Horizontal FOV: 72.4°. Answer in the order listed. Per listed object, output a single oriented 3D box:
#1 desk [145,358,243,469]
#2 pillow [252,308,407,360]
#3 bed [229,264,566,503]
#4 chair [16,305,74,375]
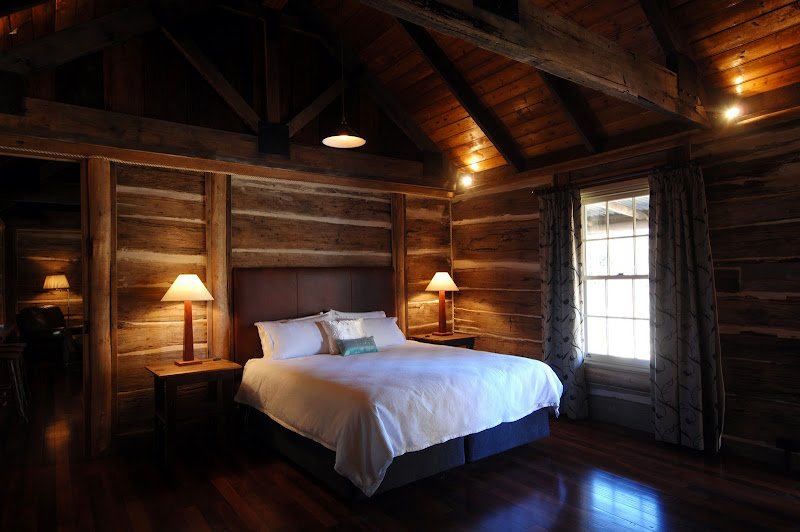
[{"bbox_3d":[-2.222,1.492,5.743,1.091,1.032,0.871,3,-6,-34],"label":"desk"},{"bbox_3d":[-1.015,0.802,6.383,1.560,0.531,0.258,-4,-19,-30],"label":"pillow"},{"bbox_3d":[-0.436,1.282,6.033,2.742,1.655,2.680,0,-4,-39],"label":"bed"},{"bbox_3d":[-5.719,1.209,8.825,0.703,1.013,0.963,-9,15,-33],"label":"chair"}]
